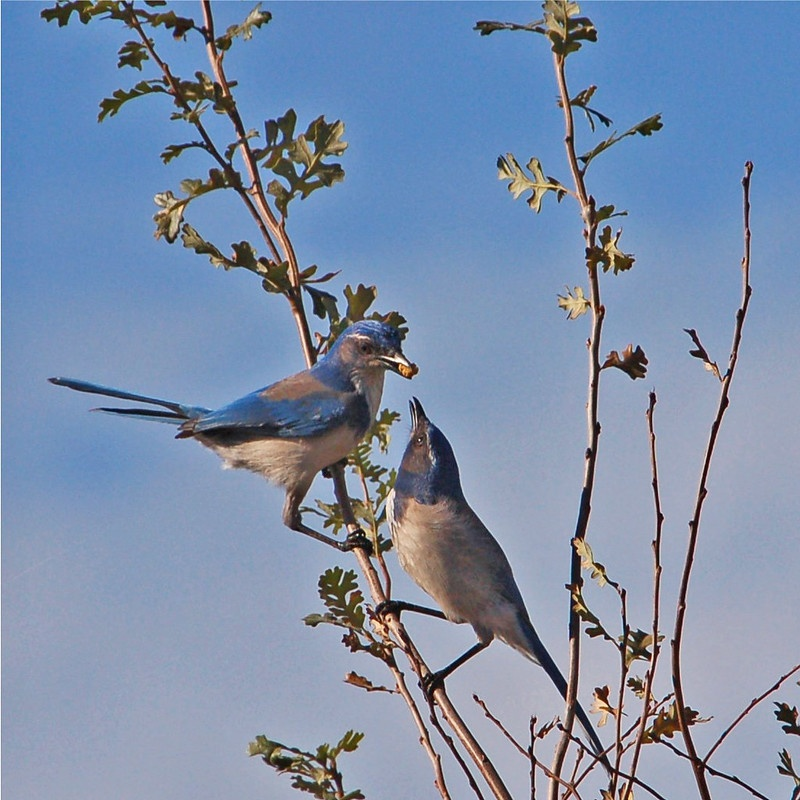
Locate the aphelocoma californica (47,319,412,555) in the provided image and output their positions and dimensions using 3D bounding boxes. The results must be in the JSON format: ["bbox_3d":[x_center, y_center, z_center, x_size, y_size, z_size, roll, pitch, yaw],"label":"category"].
[{"bbox_3d":[-0.688,0.131,7.929,1.446,1.109,0.485,8,-9,-7],"label":"aphelocoma californica"}]
